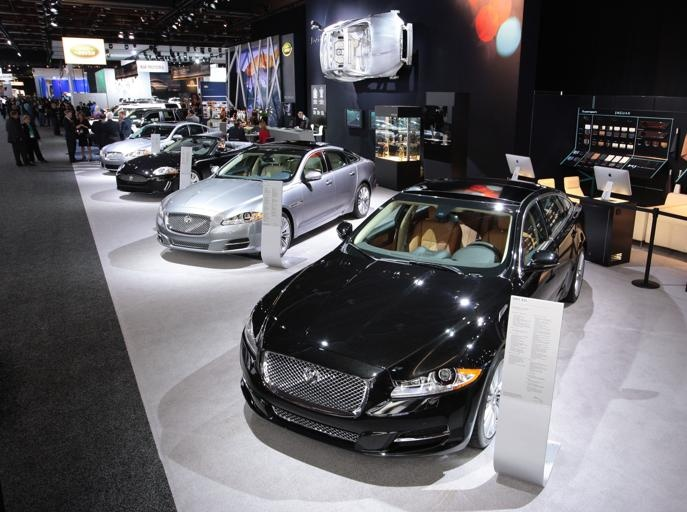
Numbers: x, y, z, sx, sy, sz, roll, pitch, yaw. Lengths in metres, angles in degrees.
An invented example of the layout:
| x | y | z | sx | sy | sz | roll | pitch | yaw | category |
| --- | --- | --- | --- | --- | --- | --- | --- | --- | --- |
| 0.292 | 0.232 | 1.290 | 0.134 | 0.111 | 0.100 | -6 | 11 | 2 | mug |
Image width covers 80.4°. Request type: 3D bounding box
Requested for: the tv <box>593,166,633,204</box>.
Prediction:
| x | y | z | sx | sy | sz | roll | pitch | yaw | category |
| --- | --- | --- | --- | --- | --- | --- | --- | --- | --- |
| 5.095 | -1.359 | 7.647 | 0.314 | 0.709 | 0.940 | -30 | 26 | -15 | tv |

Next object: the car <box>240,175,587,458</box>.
| x | y | z | sx | sy | sz | roll | pitch | yaw | category |
| --- | --- | --- | --- | --- | --- | --- | --- | --- | --- |
| 0.722 | 0.409 | 3.726 | 3.173 | 1.693 | 1.789 | -21 | 28 | -41 | car |

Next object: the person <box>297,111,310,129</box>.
| x | y | z | sx | sy | sz | roll | pitch | yaw | category |
| --- | --- | --- | --- | --- | --- | --- | --- | --- | --- |
| -1.721 | -5.818 | 17.429 | 0.509 | 0.660 | 1.128 | -3 | 21 | -5 | person |

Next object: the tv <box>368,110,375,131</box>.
| x | y | z | sx | sy | sz | roll | pitch | yaw | category |
| --- | --- | --- | --- | --- | --- | --- | --- | --- | --- |
| 0.956 | -4.596 | 13.676 | 0.113 | 0.503 | 0.481 | 5 | 6 | 10 | tv |

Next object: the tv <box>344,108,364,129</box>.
| x | y | z | sx | sy | sz | roll | pitch | yaw | category |
| --- | --- | --- | --- | --- | --- | --- | --- | --- | --- |
| 0.355 | -4.852 | 14.424 | 0.225 | 0.654 | 1.060 | -11 | 23 | -24 | tv |
